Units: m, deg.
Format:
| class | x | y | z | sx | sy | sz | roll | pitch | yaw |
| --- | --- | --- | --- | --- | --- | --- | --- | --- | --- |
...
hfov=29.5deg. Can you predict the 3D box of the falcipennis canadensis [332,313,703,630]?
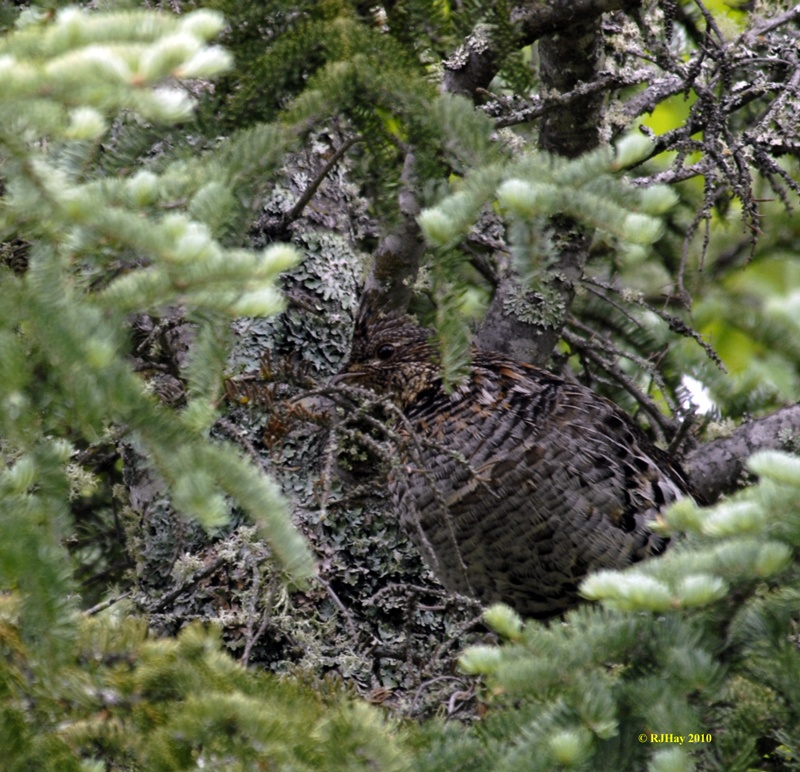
| class | x | y | z | sx | sy | sz | roll | pitch | yaw |
| --- | --- | --- | --- | --- | --- | --- | --- | --- | --- |
| falcipennis canadensis | 0.370 | 0.252 | 4.595 | 1.312 | 0.672 | 0.827 | -7 | 84 | 1 |
